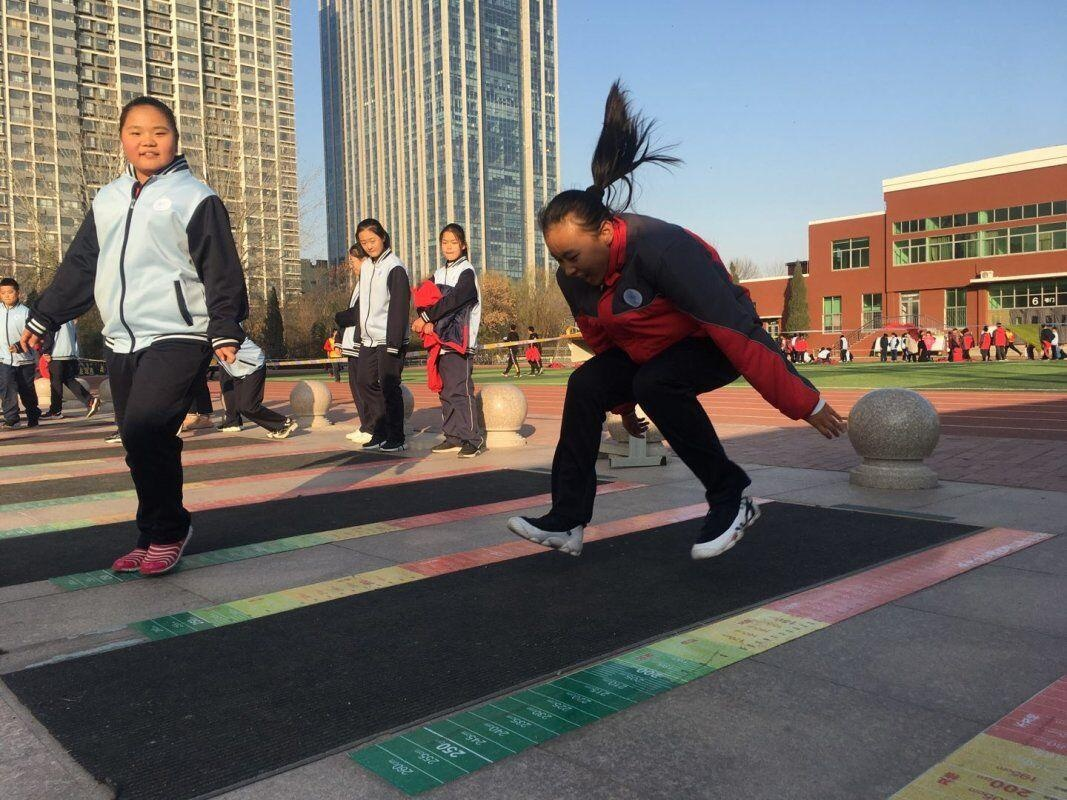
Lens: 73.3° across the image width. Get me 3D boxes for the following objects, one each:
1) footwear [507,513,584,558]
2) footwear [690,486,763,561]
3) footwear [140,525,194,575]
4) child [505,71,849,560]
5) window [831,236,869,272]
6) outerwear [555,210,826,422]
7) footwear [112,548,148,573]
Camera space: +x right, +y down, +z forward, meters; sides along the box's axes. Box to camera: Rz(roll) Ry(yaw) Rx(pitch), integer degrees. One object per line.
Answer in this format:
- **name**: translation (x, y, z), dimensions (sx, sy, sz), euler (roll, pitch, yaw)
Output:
- **footwear**: translation (0.068, 0.693, 3.755), dimensions (0.495, 0.168, 0.162), euler (15, -7, -14)
- **footwear**: translation (0.964, 0.619, 3.725), dimensions (0.552, 0.224, 0.201), euler (-33, 15, -32)
- **footwear**: translation (-2.031, 0.840, 3.953), dimensions (0.134, 0.120, 0.312), euler (1, 14, 5)
- **child**: translation (0.861, -0.342, 3.905), dimensions (1.966, 2.192, 1.537), euler (6, -3, 13)
- **window**: translation (24.663, -11.400, 55.368), dimensions (0.307, 2.542, 3.543), euler (-14, 12, -41)
- **outerwear**: translation (0.691, -0.405, 3.419), dimensions (1.225, 0.970, 0.409), euler (5, 15, 36)
- **footwear**: translation (-2.230, 0.880, 3.962), dimensions (0.103, 0.094, 0.246), euler (1, -4, 6)
